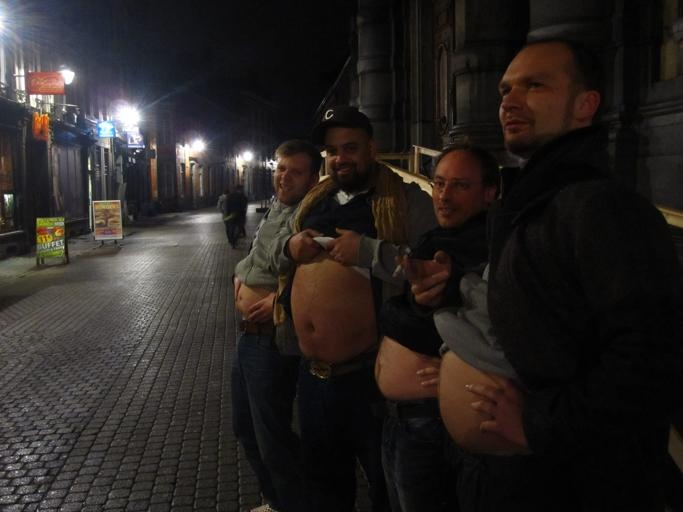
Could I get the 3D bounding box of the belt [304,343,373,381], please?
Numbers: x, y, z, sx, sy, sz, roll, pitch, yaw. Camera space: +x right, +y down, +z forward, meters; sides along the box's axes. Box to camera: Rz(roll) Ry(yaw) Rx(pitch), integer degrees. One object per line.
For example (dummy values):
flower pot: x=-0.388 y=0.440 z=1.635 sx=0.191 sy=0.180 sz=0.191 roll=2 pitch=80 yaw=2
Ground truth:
belt: x=0.012 y=0.548 z=2.757 sx=0.329 sy=0.166 sz=0.061 roll=0 pitch=6 yaw=3

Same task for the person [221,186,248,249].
person: x=-4.337 y=-1.852 z=22.160 sx=0.917 sy=2.950 sz=0.906 roll=-4 pitch=35 yaw=-23

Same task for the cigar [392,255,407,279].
cigar: x=0.248 y=0.036 z=2.347 sx=0.036 sy=0.122 sz=0.087 roll=1 pitch=11 yaw=-10
